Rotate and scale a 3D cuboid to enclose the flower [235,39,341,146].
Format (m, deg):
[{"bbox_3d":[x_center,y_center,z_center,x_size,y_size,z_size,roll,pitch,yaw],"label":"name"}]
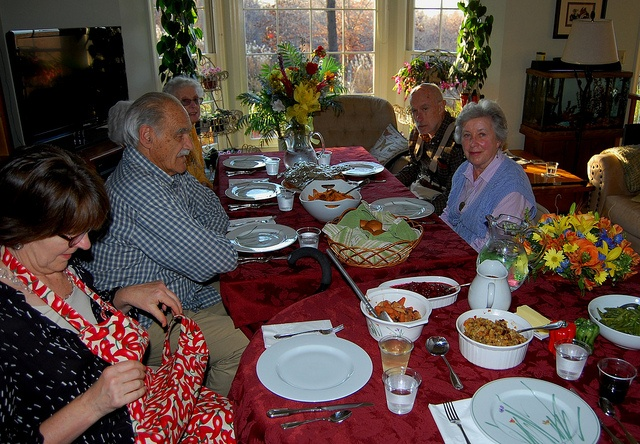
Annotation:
[{"bbox_3d":[-0.070,-0.830,2.991,0.650,0.652,0.706,0,18,11],"label":"flower"}]

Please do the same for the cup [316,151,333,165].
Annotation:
[{"bbox_3d":[0.032,-0.491,3.169,0.131,0.102,0.135,0,18,0],"label":"cup"}]

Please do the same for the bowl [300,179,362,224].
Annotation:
[{"bbox_3d":[0.034,-0.127,2.306,0.388,0.216,0.414,7,7,-1],"label":"bowl"}]

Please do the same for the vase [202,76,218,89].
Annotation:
[{"bbox_3d":[-1.245,-1.586,4.677,0.128,0.100,0.131,-2,19,-2],"label":"vase"}]

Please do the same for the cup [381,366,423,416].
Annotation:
[{"bbox_3d":[0.229,0.463,1.189,0.109,0.087,0.107,-1,17,0],"label":"cup"}]

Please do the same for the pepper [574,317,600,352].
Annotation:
[{"bbox_3d":[0.875,0.367,1.357,0.065,0.098,0.073,17,7,36],"label":"pepper"}]

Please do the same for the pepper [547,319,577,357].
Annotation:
[{"bbox_3d":[0.790,0.390,1.356,0.108,0.117,0.105,13,-23,-35],"label":"pepper"}]

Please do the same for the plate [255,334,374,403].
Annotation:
[{"bbox_3d":[-0.019,0.458,1.257,0.332,0.025,0.356,1,6,3],"label":"plate"}]

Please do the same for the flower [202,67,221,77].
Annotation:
[{"bbox_3d":[-1.256,-1.729,4.751,0.209,0.078,0.276,9,25,21],"label":"flower"}]

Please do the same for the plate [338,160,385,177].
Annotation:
[{"bbox_3d":[0.326,-0.396,3.041,0.187,0.028,0.192,-2,28,-7],"label":"plate"}]

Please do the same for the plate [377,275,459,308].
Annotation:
[{"bbox_3d":[0.384,0.253,1.549,0.234,0.041,0.139,-5,23,-6],"label":"plate"}]

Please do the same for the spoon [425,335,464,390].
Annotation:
[{"bbox_3d":[0.389,0.436,1.271,0.069,0.033,0.235,-12,22,-1],"label":"spoon"}]

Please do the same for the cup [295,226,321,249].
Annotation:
[{"bbox_3d":[-0.050,0.058,1.900,0.091,0.072,0.095,0,27,0],"label":"cup"}]

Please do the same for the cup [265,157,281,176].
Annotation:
[{"bbox_3d":[-0.347,-0.418,3.067,0.127,0.121,0.135,-2,10,0],"label":"cup"}]

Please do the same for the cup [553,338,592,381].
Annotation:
[{"bbox_3d":[0.763,0.424,1.257,0.095,0.086,0.102,-5,14,1],"label":"cup"}]

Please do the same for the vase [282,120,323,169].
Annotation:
[{"bbox_3d":[-0.107,-0.505,2.917,0.292,0.297,0.217,-1,8,2],"label":"vase"}]

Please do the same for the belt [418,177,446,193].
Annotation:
[{"bbox_3d":[0.893,-0.301,3.304,0.091,0.039,0.157,-7,24,-23],"label":"belt"}]

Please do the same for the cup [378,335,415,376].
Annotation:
[{"bbox_3d":[0.226,0.416,1.267,0.118,0.091,0.114,1,10,0],"label":"cup"}]

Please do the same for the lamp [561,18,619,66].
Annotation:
[{"bbox_3d":[2.595,-1.714,4.008,0.458,0.429,0.480,7,29,28],"label":"lamp"}]

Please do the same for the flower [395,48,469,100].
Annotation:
[{"bbox_3d":[1.302,-1.853,5.178,0.752,0.577,0.789,-21,23,3],"label":"flower"}]

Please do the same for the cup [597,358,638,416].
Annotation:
[{"bbox_3d":[0.829,0.468,1.151,0.086,0.077,0.089,-6,30,3],"label":"cup"}]

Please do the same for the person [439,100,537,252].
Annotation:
[{"bbox_3d":[0.963,-0.262,2.454,0.527,0.891,0.622,-11,18,-23],"label":"person"}]

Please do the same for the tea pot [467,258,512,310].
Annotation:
[{"bbox_3d":[0.587,0.265,1.430,0.132,0.192,0.220,5,24,29],"label":"tea pot"}]

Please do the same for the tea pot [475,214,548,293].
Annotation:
[{"bbox_3d":[0.737,0.133,1.580,0.224,0.245,0.177,7,17,25],"label":"tea pot"}]

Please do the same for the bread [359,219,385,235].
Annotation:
[{"bbox_3d":[0.229,0.022,1.815,0.073,0.022,0.070,15,27,-23],"label":"bread"}]

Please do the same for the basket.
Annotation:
[{"bbox_3d":[0.274,0.108,1.919,0.469,0.157,0.464,-8,-2,-15],"label":"basket"}]

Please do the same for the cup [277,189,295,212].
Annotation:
[{"bbox_3d":[-0.194,-0.123,2.399,0.091,0.106,0.116,0,20,-2],"label":"cup"}]

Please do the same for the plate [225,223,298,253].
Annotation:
[{"bbox_3d":[-0.282,0.078,2.040,0.189,0.027,0.193,-3,29,-6],"label":"plate"}]

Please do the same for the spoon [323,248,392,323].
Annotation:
[{"bbox_3d":[0.129,0.207,1.560,0.089,0.078,0.453,-8,44,-20],"label":"spoon"}]

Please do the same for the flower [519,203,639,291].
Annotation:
[{"bbox_3d":[0.997,0.103,1.588,0.364,0.216,0.383,11,46,26],"label":"flower"}]

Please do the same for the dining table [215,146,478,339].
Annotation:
[{"bbox_3d":[-0.079,0.018,1.998,1.040,0.618,0.218,-23,15,-28],"label":"dining table"}]
